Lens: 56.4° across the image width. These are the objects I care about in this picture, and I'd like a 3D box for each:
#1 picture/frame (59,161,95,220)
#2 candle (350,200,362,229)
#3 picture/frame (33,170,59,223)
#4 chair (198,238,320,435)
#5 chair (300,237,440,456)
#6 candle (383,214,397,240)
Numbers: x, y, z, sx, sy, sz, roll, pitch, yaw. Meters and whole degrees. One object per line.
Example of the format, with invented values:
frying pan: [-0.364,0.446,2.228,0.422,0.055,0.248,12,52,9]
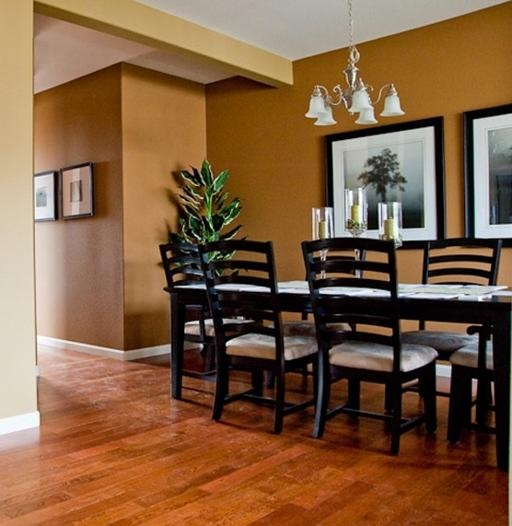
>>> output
picture/frame: [-1.804,-0.741,4.846,0.730,0.643,0.033,1,0,40]
candle: [0.549,-0.270,2.622,0.086,0.151,0.049,-2,-1,1]
picture/frame: [-2.334,-0.738,5.278,0.125,0.565,0.552,-1,-1,-38]
chair: [0.064,0.392,2.677,0.617,0.915,0.680,-2,-7,25]
chair: [0.562,0.387,2.330,0.603,0.888,0.588,-1,-6,30]
candle: [0.687,-0.177,2.441,0.067,0.111,0.039,-2,-1,12]
